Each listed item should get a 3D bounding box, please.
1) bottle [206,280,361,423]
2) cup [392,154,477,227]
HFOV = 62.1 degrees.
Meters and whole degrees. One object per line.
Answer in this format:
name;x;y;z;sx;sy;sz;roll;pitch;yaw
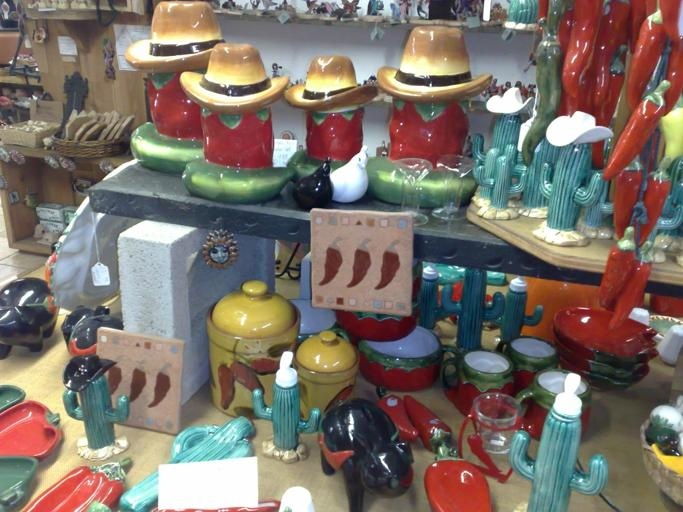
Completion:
bottle;-0.138;0.208;1.525;0.281;0.384;0.383;0;16;-1
cup;0.208;-0.162;1.309;0.173;0.139;0.156;6;27;7
